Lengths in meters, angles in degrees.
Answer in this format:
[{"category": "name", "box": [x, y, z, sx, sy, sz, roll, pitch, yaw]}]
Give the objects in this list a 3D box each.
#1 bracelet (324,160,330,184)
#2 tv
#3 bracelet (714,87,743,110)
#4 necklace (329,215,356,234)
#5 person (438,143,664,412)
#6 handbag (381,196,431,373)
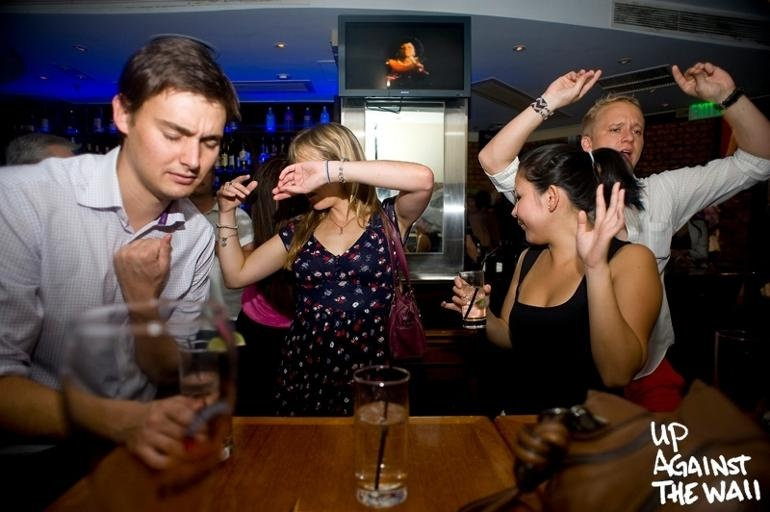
[{"category": "bracelet", "box": [-0.270, -0.388, 2.454, 0.023, 0.096, 0.031, -4, 13, -7]}, {"category": "tv", "box": [0.146, -1.500, 4.047, 1.025, 0.594, 0.106, 0, 11, 0]}, {"category": "bracelet", "box": [1.648, -0.749, 2.540, 0.033, 0.092, 0.092, 46, 7, 10]}, {"category": "necklace", "box": [-0.205, -0.149, 2.560, 0.112, 0.086, 0.033, 4, -6, 8]}, {"category": "person", "box": [0.761, 0.069, 2.287, 0.812, 1.068, 0.597, 8, 16, 38]}, {"category": "handbag", "box": [0.086, 0.175, 2.476, 0.167, 0.700, 0.397, -2, 13, 0]}]
